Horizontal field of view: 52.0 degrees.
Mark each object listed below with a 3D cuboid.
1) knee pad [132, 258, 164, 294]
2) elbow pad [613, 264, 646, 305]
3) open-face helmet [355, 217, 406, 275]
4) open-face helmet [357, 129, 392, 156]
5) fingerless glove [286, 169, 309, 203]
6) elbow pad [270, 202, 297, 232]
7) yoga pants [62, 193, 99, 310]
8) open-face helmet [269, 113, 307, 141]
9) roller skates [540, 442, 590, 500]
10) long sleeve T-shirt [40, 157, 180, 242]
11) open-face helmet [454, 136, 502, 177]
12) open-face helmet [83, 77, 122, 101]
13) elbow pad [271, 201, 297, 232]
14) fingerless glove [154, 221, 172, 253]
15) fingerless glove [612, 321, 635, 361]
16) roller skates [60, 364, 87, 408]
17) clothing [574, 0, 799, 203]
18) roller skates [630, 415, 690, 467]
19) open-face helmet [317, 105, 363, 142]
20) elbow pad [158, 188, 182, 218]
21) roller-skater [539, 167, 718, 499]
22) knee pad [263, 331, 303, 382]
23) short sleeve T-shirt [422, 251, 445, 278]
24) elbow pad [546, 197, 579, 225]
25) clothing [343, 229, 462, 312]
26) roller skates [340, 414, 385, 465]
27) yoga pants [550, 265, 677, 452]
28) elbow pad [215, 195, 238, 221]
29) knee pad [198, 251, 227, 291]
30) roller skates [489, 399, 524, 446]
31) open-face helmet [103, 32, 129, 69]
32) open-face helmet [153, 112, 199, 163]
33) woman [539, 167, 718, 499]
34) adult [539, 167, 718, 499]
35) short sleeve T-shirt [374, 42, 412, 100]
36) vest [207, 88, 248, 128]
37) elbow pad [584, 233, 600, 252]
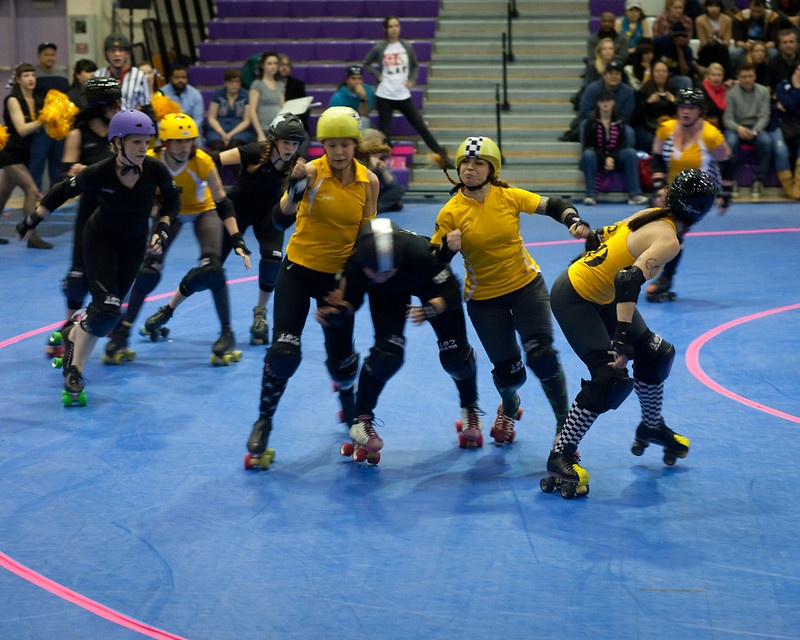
[{"bbox_3d":[-2.085,-0.376,6.884,0.254,0.312,0.117,10,42,-26],"label":"knee pad"},{"bbox_3d":[1.226,-0.187,4.373,0.154,0.199,0.135,2,18,15],"label":"elbow pad"},{"bbox_3d":[-0.141,-0.424,4.611,0.278,0.259,0.326,1,19,-4],"label":"open-face helmet"},{"bbox_3d":[-0.146,-1.108,5.121,0.206,0.095,0.227,12,10,-5],"label":"open-face helmet"},{"bbox_3d":[-0.575,-0.778,4.746,0.124,0.147,0.075,16,1,29],"label":"fingerless glove"},{"bbox_3d":[-0.684,-0.635,4.950,0.183,0.125,0.177,0,4,-1],"label":"elbow pad"},{"bbox_3d":[-2.451,-0.503,6.502,0.282,1.063,0.334,3,8,-16],"label":"yoga pants"},{"bbox_3d":[-0.762,-1.345,5.817,0.247,0.224,0.273,0,29,-13],"label":"open-face helmet"},{"bbox_3d":[0.922,0.873,4.583,0.218,0.273,0.336,-2,3,-43],"label":"roller skates"},{"bbox_3d":[-2.107,-0.897,5.952,1.068,0.538,0.323,1,29,-28],"label":"long sleeve T-shirt"},{"bbox_3d":[0.446,-0.987,4.921,0.248,0.222,0.293,11,15,12],"label":"open-face helmet"},{"bbox_3d":[-2.326,-1.821,6.423,0.281,0.139,0.176,3,23,12],"label":"open-face helmet"},{"bbox_3d":[-0.696,-0.646,4.983,0.184,0.138,0.163,3,53,-5],"label":"elbow pad"},{"bbox_3d":[-1.829,-0.634,6.290,0.166,0.094,0.225,13,56,-2],"label":"fingerless glove"},{"bbox_3d":[1.188,0.113,4.369,0.093,0.204,0.139,1,18,10],"label":"fingerless glove"},{"bbox_3d":[-2.318,0.448,5.899,0.202,0.238,0.367,0,12,-21],"label":"roller skates"},{"bbox_3d":[5.100,-4.390,13.974,4.682,3.482,0.948,1,-24,3],"label":"clothing"},{"bbox_3d":[1.571,0.741,4.919,0.439,0.270,0.186,9,45,18],"label":"roller skates"},{"bbox_3d":[-0.335,-1.126,4.801,0.214,0.175,0.249,0,-21,-2],"label":"open-face helmet"},{"bbox_3d":[-1.759,-0.917,6.332,0.280,0.233,0.098,5,41,-3],"label":"elbow pad"},{"bbox_3d":[1.199,0.064,4.642,0.694,1.777,1.015,14,24,40],"label":"roller-skater"},{"bbox_3d":[-0.673,0.203,4.804,0.228,0.141,0.288,5,-16,-16],"label":"knee pad"},{"bbox_3d":[0.198,-0.327,4.743,0.108,0.138,0.043,-41,2,-22],"label":"short sleeve T-shirt"},{"bbox_3d":[0.993,-0.675,5.005,0.110,0.119,0.244,-22,13,-11],"label":"elbow pad"},{"bbox_3d":[0.067,-0.256,4.912,0.517,0.293,0.628,-6,-10,11],"label":"clothing"},{"bbox_3d":[-0.241,0.737,5.003,0.171,0.233,0.431,5,1,-20],"label":"roller skates"},{"bbox_3d":[1.270,0.284,4.961,0.705,0.497,1.371,6,-25,21],"label":"yoga pants"},{"bbox_3d":[-1.407,-0.912,6.648,0.131,0.179,0.245,-7,17,-13],"label":"elbow pad"},{"bbox_3d":[-1.554,-0.392,6.859,0.199,0.302,0.216,-6,18,-12],"label":"knee pad"},{"bbox_3d":[0.689,0.694,5.355,0.152,0.137,0.319,3,14,10],"label":"roller skates"},{"bbox_3d":[-3.144,-3.039,9.188,0.259,0.387,0.468,-8,17,-15],"label":"open-face helmet"},{"bbox_3d":[-1.736,-1.493,6.399,0.277,0.234,0.282,-5,18,-22],"label":"open-face helmet"},{"bbox_3d":[1.197,0.063,4.644,0.687,1.777,1.017,14,25,41],"label":"woman"},{"bbox_3d":[1.197,0.063,4.644,0.687,1.777,1.017,14,25,41],"label":"adult"},{"bbox_3d":[-0.071,-4.191,13.545,0.714,0.965,0.477,-14,32,-17],"label":"short sleeve T-shirt"},{"bbox_3d":[-2.836,-3.523,13.511,0.787,0.676,0.383,-6,49,-35],"label":"vest"},{"bbox_3d":[1.119,-0.458,4.836,0.094,0.086,0.108,0,-5,3],"label":"elbow pad"}]
